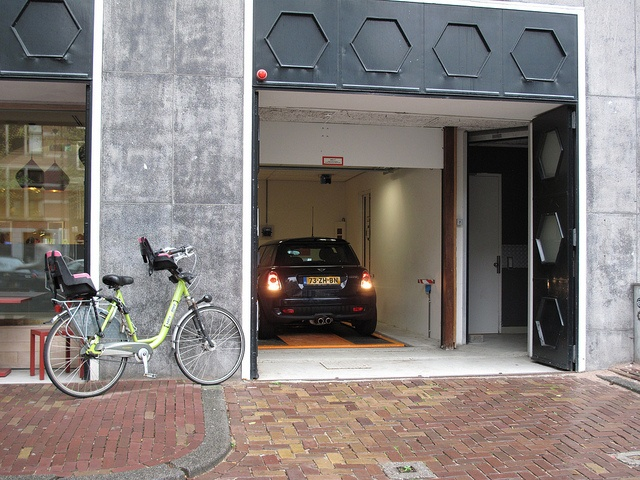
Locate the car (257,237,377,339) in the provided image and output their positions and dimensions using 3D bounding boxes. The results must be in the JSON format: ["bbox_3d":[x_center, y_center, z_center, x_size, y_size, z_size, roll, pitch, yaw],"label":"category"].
[{"bbox_3d":[-0.074,0.724,10.482,1.262,1.063,2.229,1,-1,-6],"label":"car"}]
